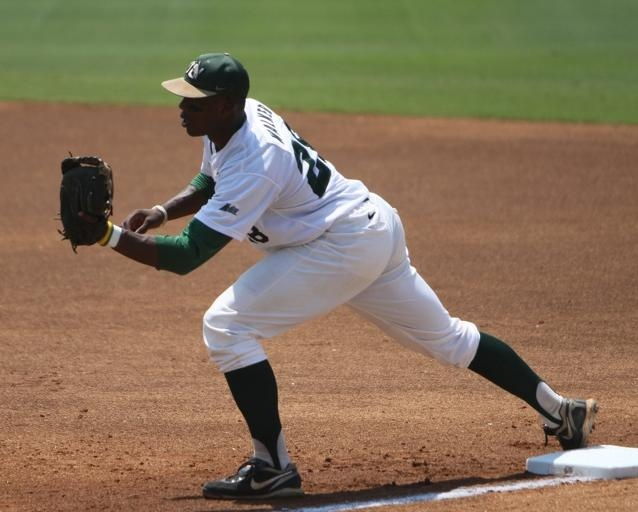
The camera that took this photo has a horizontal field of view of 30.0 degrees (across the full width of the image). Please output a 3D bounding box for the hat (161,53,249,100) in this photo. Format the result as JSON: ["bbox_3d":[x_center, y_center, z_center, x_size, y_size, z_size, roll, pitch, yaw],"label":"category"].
[{"bbox_3d":[-0.840,-1.334,8.759,0.592,0.238,0.338,6,15,-9],"label":"hat"}]

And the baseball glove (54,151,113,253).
[{"bbox_3d":[-1.732,-0.409,8.724,0.300,0.602,0.540,5,-8,-41],"label":"baseball glove"}]

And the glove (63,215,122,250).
[{"bbox_3d":[-1.645,-0.186,8.654,0.476,0.260,0.159,3,6,29],"label":"glove"}]
